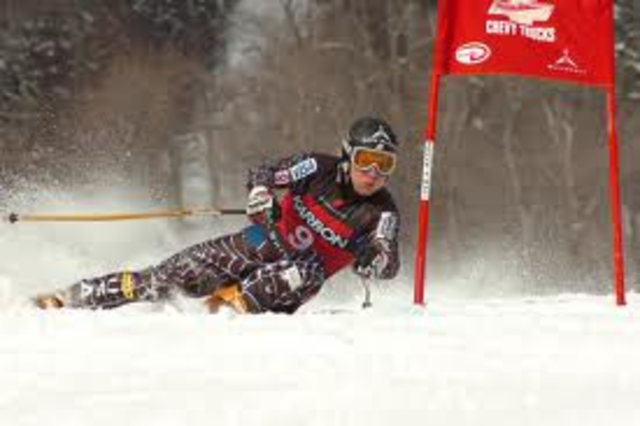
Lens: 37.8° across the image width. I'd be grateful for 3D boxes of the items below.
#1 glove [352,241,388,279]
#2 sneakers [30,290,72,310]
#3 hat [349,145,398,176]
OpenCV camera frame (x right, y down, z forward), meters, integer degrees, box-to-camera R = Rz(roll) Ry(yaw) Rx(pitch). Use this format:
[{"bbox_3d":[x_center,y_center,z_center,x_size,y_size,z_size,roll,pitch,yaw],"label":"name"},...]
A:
[{"bbox_3d":[0.633,0.569,11.501,0.461,0.452,0.303,-7,-7,1],"label":"glove"},{"bbox_3d":[-3.419,1.137,12.076,0.285,0.193,0.334,3,1,-33],"label":"sneakers"},{"bbox_3d":[0.625,-0.758,12.160,0.561,0.292,0.698,9,15,-22],"label":"hat"}]
